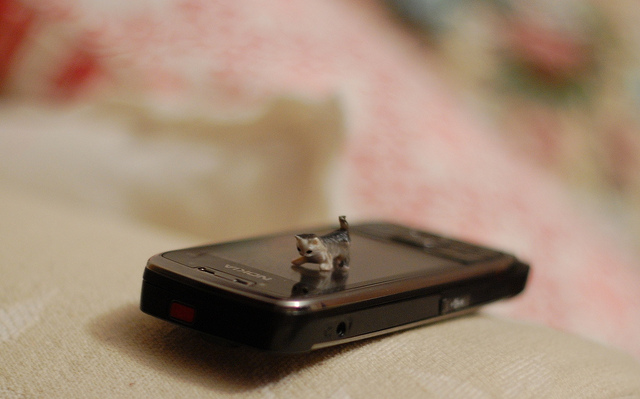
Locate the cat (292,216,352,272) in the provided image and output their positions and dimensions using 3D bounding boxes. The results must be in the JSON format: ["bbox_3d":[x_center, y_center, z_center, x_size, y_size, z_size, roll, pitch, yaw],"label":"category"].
[{"bbox_3d":[0.011,0.061,0.977,0.061,0.074,0.087,10,14,41],"label":"cat"}]

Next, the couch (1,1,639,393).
[{"bbox_3d":[-0.015,-0.050,1.233,0.603,0.229,1.060,15,17,37],"label":"couch"}]
